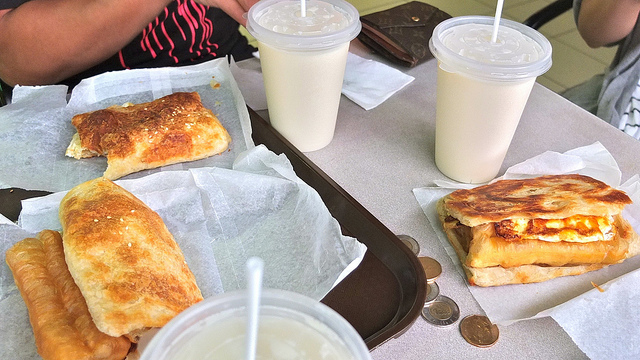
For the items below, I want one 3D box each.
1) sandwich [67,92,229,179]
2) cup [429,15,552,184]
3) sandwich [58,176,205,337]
[{"bbox_3d":[-0.625,-0.194,1.761,0.545,0.248,0.438,-17,15,-27],"label":"sandwich"},{"bbox_3d":[0.496,-0.262,1.651,0.414,0.497,0.396,-2,38,1],"label":"cup"},{"bbox_3d":[-0.574,0.186,1.372,0.314,0.153,0.513,-10,53,-38],"label":"sandwich"}]
